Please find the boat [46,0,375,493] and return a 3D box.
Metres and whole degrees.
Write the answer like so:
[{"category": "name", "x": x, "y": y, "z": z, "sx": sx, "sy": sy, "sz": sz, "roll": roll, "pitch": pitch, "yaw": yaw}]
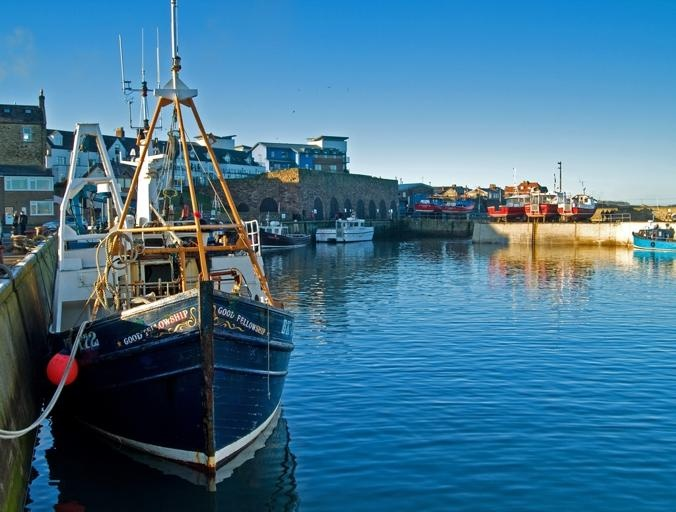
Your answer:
[{"category": "boat", "x": -3.175, "y": -0.756, "z": 14.685, "sx": 4.107, "sy": 8.549, "sz": 6.047, "roll": -6, "pitch": 14, "yaw": -16}]
